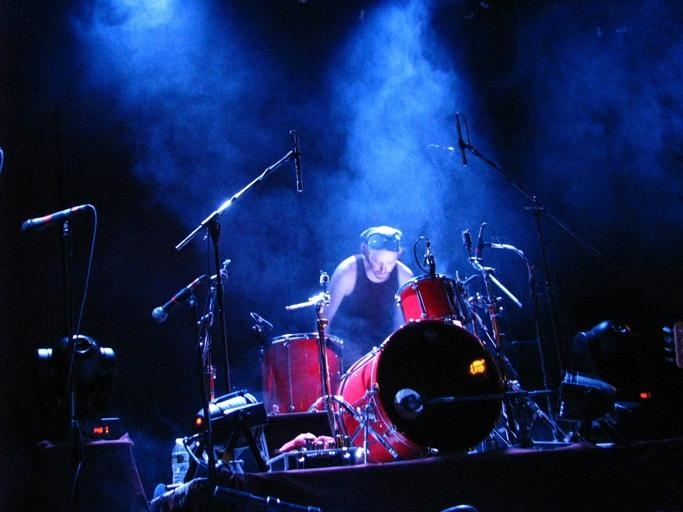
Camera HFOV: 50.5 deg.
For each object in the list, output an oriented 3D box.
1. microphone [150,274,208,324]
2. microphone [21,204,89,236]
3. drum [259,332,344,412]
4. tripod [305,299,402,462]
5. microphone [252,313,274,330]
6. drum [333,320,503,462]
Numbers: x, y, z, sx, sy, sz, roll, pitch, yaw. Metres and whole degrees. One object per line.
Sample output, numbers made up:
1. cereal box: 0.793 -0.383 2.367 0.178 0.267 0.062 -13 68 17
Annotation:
1. microphone: -1.639 0.421 7.196 0.509 0.165 0.152 -41 -49 -4
2. microphone: -2.593 -0.333 6.480 0.537 0.146 0.150 -18 -68 -17
3. drum: -0.355 1.128 7.147 0.666 0.755 0.722 -9 -17 11
4. tripod: 0.209 1.214 6.344 0.875 0.949 0.957 -15 -53 15
5. microphone: -0.789 0.653 7.212 0.203 0.058 0.215 23 -10 42
6. drum: 0.689 1.144 6.492 1.130 1.266 1.218 4 -4 0
